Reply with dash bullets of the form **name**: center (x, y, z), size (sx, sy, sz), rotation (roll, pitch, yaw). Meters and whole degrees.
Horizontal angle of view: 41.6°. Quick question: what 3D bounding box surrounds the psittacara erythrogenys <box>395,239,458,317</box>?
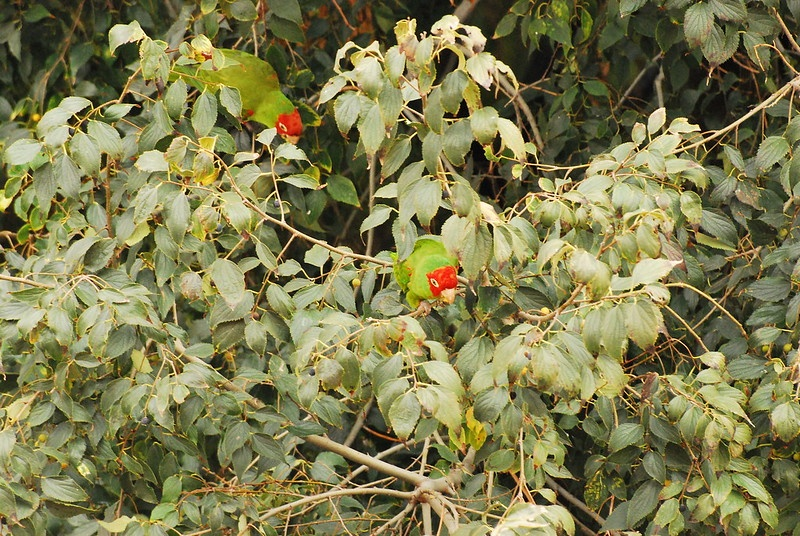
- **psittacara erythrogenys**: center (0.085, 0.034, 2.737), size (0.149, 0.134, 0.193), rotation (-33, 65, -14)
